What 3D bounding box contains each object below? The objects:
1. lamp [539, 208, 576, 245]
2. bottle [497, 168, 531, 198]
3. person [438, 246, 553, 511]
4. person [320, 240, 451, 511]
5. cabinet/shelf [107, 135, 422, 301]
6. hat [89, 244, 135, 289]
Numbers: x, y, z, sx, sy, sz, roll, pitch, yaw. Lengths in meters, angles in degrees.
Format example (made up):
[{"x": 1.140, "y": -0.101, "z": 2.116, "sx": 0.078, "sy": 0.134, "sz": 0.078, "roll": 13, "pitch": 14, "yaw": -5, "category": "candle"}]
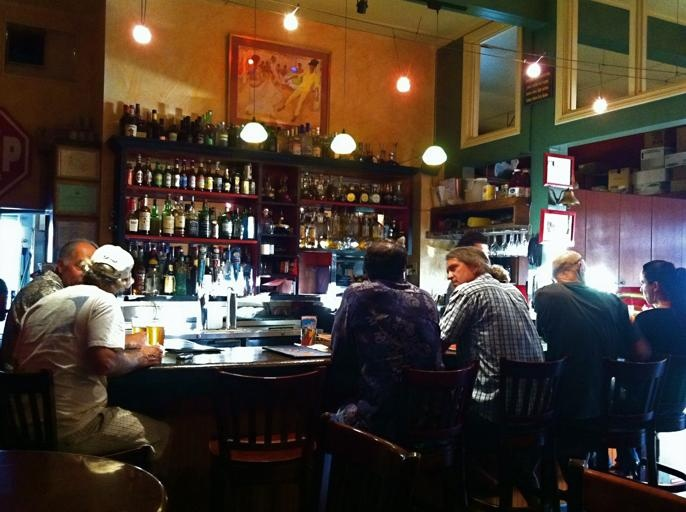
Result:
[{"x": 2.173, "y": -0.284, "z": 6.392, "sx": 0.398, "sy": 0.355, "sz": 0.103, "roll": -2, "pitch": 1, "yaw": -30, "category": "lamp"}, {"x": 1.955, "y": -0.800, "z": 7.042, "sx": 0.294, "sy": 0.352, "sz": 0.367, "roll": 1, "pitch": 0, "yaw": -5, "category": "bottle"}, {"x": 0.941, "y": 0.637, "z": 3.978, "sx": 0.637, "sy": 1.383, "sz": 0.561, "roll": 1, "pitch": 0, "yaw": 15, "category": "person"}, {"x": 0.226, "y": 0.476, "z": 3.731, "sx": 0.711, "sy": 0.913, "sz": 0.440, "roll": 1, "pitch": 0, "yaw": 13, "category": "person"}, {"x": -0.756, "y": -0.423, "z": 7.373, "sx": 3.201, "sy": 1.858, "sz": 0.470, "roll": 4, "pitch": -22, "yaw": -21, "category": "cabinet/shelf"}, {"x": -1.355, "y": 0.075, "z": 3.843, "sx": 0.220, "sy": 0.268, "sz": 0.310, "roll": 18, "pitch": -14, "yaw": -12, "category": "hat"}]
